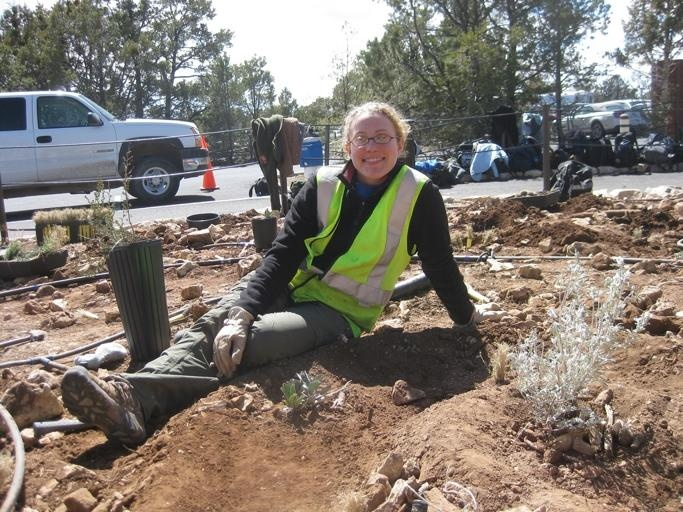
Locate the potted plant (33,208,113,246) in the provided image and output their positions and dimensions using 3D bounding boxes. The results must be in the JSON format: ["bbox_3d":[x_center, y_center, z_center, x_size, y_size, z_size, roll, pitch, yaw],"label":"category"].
[{"bbox_3d":[-3.409,-0.362,8.476,0.770,0.582,1.177,1,-1,-7],"label":"potted plant"}]

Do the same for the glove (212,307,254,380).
[{"bbox_3d":[-0.640,0.492,3.698,0.191,0.402,0.138,15,-8,35],"label":"glove"}]

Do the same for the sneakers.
[{"bbox_3d":[-1.308,0.827,3.446,0.122,0.366,0.248,-23,16,19],"label":"sneakers"}]
